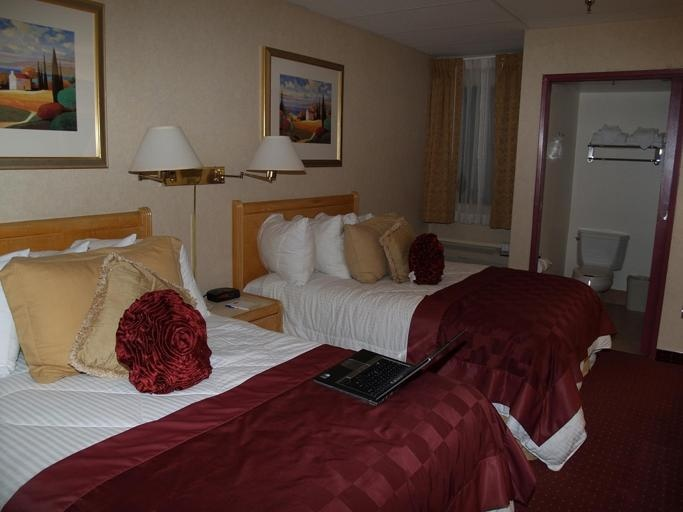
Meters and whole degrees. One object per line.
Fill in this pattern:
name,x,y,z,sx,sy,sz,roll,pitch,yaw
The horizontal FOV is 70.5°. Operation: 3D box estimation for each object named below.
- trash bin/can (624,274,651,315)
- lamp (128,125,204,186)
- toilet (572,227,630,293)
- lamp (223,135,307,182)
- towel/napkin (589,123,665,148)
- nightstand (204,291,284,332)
trash bin/can,3.687,0.465,6.062,0.216,0.423,0.246,8,14,26
lamp,-1.142,-0.645,3.122,0.351,0.215,0.349,2,13,14
toilet,3.370,0.163,6.376,0.612,0.925,0.793,6,20,33
lamp,-0.679,-0.810,4.048,0.695,0.410,0.476,2,7,-9
towel/napkin,3.772,-1.588,6.415,0.849,0.287,0.138,8,14,26
nightstand,-0.763,0.385,3.810,0.351,0.238,0.341,9,14,41
